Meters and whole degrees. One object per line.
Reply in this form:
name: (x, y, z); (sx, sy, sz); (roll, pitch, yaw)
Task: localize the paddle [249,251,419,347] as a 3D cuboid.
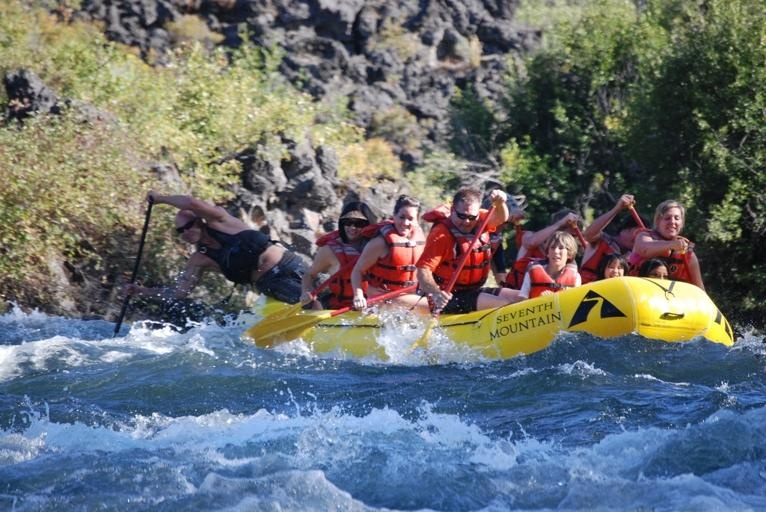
paddle: (-0.672, 0.654, 16.585); (3.871, 0.541, 0.317); (-16, 15, 24)
